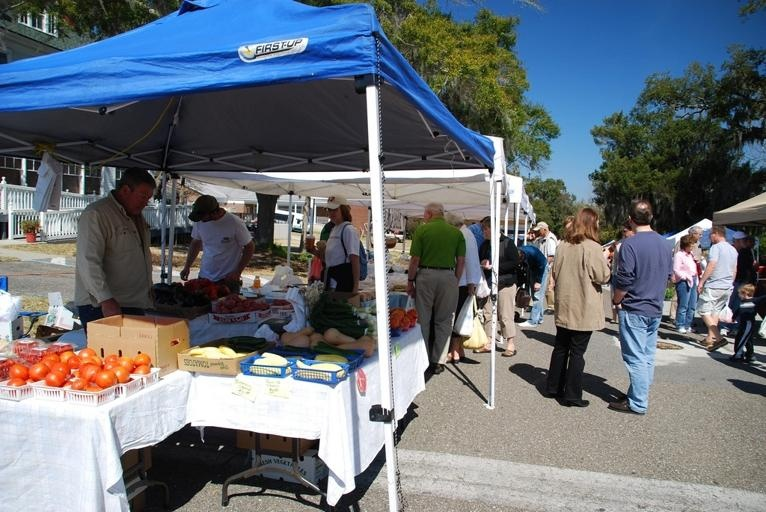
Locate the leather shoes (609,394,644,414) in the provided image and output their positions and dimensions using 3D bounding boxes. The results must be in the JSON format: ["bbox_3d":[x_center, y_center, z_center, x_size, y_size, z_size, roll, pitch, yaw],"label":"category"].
[{"bbox_3d":[3.305,2.006,7.923,0.437,0.205,0.193,4,4,28],"label":"leather shoes"}]

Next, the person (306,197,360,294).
[{"bbox_3d":[-0.568,-0.151,8.190,0.574,1.329,0.899,-3,13,-18],"label":"person"}]

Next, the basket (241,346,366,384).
[{"bbox_3d":[-0.783,1.021,5.587,0.780,0.293,1.028,-22,-35,29],"label":"basket"}]

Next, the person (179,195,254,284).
[{"bbox_3d":[-2.413,-0.263,8.333,1.046,1.247,0.975,3,12,9],"label":"person"}]

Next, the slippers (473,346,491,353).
[{"bbox_3d":[1.787,1.661,10.475,0.345,0.138,0.116,4,-6,-41],"label":"slippers"}]

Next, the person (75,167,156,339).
[{"bbox_3d":[-2.906,-0.028,6.286,0.706,1.991,0.648,1,1,10],"label":"person"}]
